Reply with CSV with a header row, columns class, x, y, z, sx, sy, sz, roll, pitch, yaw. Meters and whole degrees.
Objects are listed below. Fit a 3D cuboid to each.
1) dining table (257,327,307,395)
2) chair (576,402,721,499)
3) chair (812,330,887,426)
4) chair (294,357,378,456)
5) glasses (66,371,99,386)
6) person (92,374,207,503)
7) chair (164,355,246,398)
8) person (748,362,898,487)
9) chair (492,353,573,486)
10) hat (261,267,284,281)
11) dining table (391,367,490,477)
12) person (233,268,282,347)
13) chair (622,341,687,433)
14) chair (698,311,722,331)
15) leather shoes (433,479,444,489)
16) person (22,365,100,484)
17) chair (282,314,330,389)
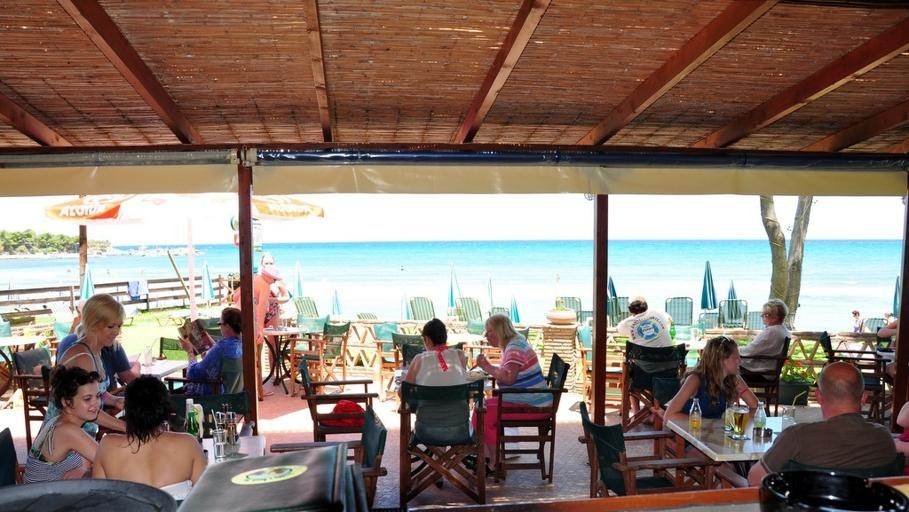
class,x,y,z,sx,sy,sz,roll,pitch,yaw
dining table,-3.096,1.855,11.529,1.372,1.087,1.163,-1,-3,3
chair,1.892,2.011,6.716,1.318,1.033,1.394,-1,-3,-11
chair,6.070,1.886,9.911,1.109,1.184,0.996,12,0,29
chair,-1.506,1.968,8.122,1.116,1.092,0.890,3,3,-8
glasses,-3.437,1.135,5.913,0.174,0.078,0.201,1,-6,-31
person,-2.622,1.571,5.537,0.886,0.990,0.317,-3,-3,11
chair,-3.199,1.493,8.136,0.883,0.685,0.766,-1,1,1
person,3.659,1.664,6.409,1.821,1.218,0.904,0,15,7
chair,1.025,2.050,8.333,0.942,1.475,1.182,-3,-3,8
hat,-3.164,0.315,11.256,0.294,0.086,0.282,26,5,21
dining table,-0.123,2.069,7.501,1.128,1.050,0.886,-3,-21,5
person,-3.193,0.816,10.986,0.406,1.365,1.010,-2,-3,-16
chair,2.659,1.957,9.288,1.121,1.280,1.008,8,-17,-20
chair,5.776,1.483,14.495,0.459,0.362,0.396,1,-5,-16
leather shoes,-0.179,2.758,7.718,0.085,0.109,0.118,-11,22,3
person,-3.615,1.552,5.972,0.676,1.028,0.266,-3,-3,11
chair,-2.614,1.735,11.604,0.696,0.987,1.431,-3,-1,-10
